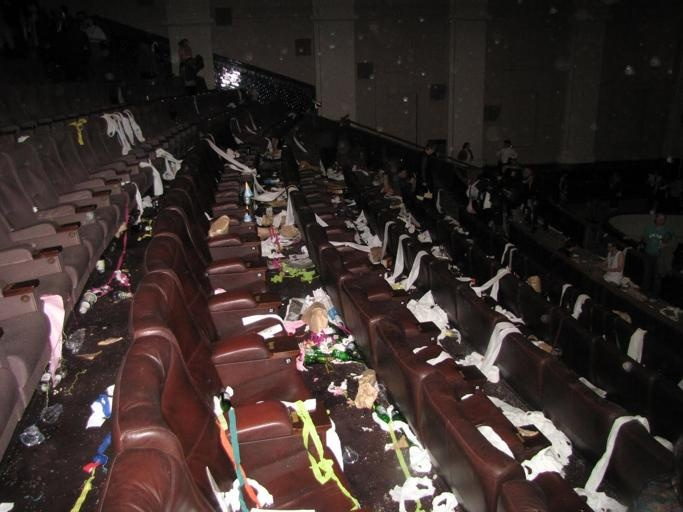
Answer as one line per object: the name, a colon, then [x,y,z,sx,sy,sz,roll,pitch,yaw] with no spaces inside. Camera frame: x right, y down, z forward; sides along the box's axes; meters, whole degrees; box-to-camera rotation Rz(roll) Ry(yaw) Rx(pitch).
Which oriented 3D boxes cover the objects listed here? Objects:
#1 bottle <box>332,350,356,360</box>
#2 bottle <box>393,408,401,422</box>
bottle: [0.019,0.759,3.479,0.095,0.042,0.085,10,4,23]
bottle: [0.351,1.017,2.930,0.038,0.069,0.067,-4,17,-2]
